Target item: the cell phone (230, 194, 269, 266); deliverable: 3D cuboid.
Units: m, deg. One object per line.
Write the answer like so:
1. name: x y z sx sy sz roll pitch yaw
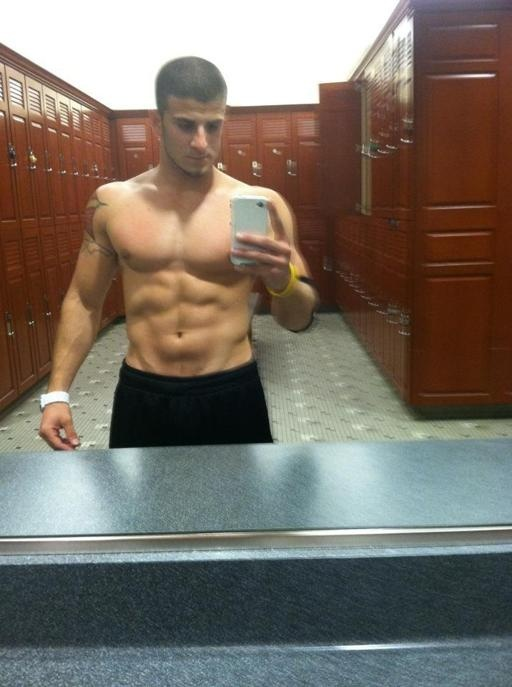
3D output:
1. cell phone: -0.007 -0.139 0.671 0.060 0.098 0.054 -1 31 -4

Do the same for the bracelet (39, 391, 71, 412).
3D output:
1. bracelet: -0.340 0.093 0.876 0.047 0.027 0.044 0 -13 -20
